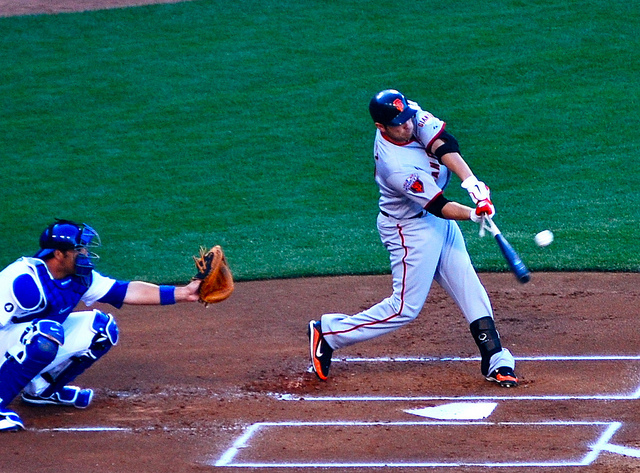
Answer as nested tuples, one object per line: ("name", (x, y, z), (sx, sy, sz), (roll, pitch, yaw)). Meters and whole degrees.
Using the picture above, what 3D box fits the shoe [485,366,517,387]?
("shoe", (1.814, 1.381, 12.530), (0.147, 0.118, 0.292), (1, -2, -36))

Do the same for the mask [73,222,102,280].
("mask", (-2.295, 0.214, 12.330), (0.362, 0.654, 0.349), (-4, 21, -11))

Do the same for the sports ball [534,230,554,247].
("sports ball", (2.396, 0.020, 13.413), (0.203, 0.117, 0.185), (-5, 11, 1))

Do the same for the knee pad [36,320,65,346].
("knee pad", (-2.597, 0.914, 12.137), (0.222, 0.231, 0.184), (-18, 30, -12))

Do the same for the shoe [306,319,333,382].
("shoe", (0.006, 1.146, 12.738), (0.305, 0.585, 0.229), (-10, 3, 5))
